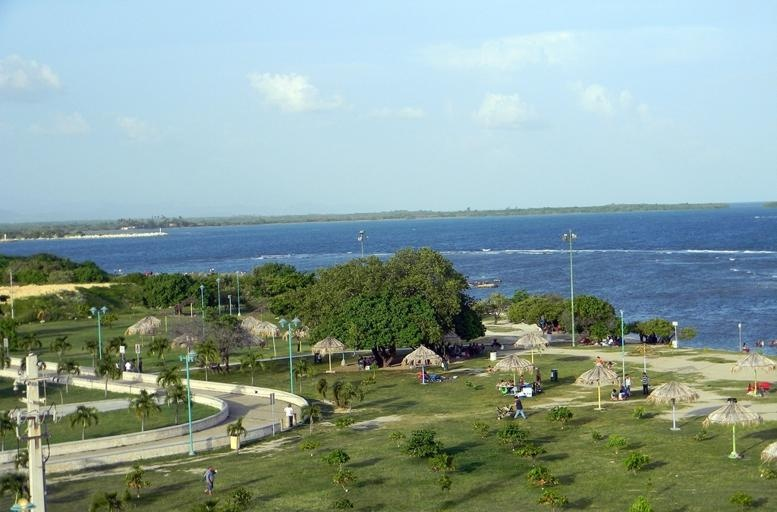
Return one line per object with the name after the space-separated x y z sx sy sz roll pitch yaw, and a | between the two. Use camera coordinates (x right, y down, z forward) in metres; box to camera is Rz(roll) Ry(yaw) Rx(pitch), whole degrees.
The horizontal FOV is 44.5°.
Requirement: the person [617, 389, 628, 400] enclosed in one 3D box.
24.466 14.367 98.356 1.139 0.813 0.729 -11 14 -32 | person
